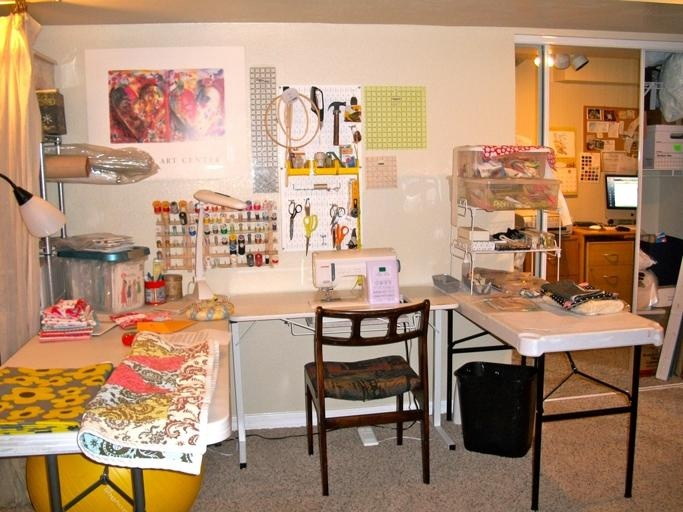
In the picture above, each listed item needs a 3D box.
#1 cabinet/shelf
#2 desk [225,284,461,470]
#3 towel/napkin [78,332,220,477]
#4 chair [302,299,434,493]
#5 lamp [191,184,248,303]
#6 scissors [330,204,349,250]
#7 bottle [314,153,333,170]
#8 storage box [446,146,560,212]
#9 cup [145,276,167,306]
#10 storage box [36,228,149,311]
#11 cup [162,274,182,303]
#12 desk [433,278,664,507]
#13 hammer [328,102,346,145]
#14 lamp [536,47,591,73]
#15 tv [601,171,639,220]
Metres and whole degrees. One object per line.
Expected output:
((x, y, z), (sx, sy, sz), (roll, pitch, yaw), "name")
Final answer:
((1.074, -0.061, 3.960), (0.672, 0.632, 0.238), (-1, 3, -18), "cabinet/shelf")
((-0.051, 0.426, 3.705), (1.760, 1.195, 0.995), (-3, 13, -11), "desk")
((-0.739, 0.563, 2.389), (0.367, 0.135, 0.619), (3, 23, -3), "towel/napkin")
((0.157, 0.737, 3.573), (0.783, 1.109, 0.793), (-3, 10, -4), "chair")
((-0.776, -0.089, 3.697), (0.353, 0.679, 0.446), (-3, 11, -8), "lamp")
((-0.023, -0.208, 3.983), (0.121, 0.302, 0.045), (-2, 10, 1), "scissors")
((-0.125, -0.650, 3.918), (0.127, 0.099, 0.048), (-3, 10, -5), "bottle")
((1.041, -0.505, 3.718), (0.659, 0.413, 0.420), (0, 11, 10), "storage box")
((-1.163, 0.229, 3.715), (0.142, 0.193, 0.145), (1, 2, 0), "cup")
((-1.469, 0.097, 3.466), (0.563, 0.418, 0.370), (1, 4, 15), "storage box")
((-1.069, 0.196, 3.682), (0.142, 0.155, 0.145), (1, 1, 0), "cup")
((1.226, 0.410, 3.577), (1.022, 1.152, 1.771), (-3, 9, -10), "desk")
((-0.035, -0.916, 3.916), (0.113, 0.235, 0.053), (9, 23, 19), "hammer")
((1.664, -1.440, 4.283), (0.508, 0.196, 0.168), (2, 19, -4), "lamp")
((2.403, -0.530, 5.015), (0.092, 0.394, 0.356), (-9, 9, -41), "tv")
